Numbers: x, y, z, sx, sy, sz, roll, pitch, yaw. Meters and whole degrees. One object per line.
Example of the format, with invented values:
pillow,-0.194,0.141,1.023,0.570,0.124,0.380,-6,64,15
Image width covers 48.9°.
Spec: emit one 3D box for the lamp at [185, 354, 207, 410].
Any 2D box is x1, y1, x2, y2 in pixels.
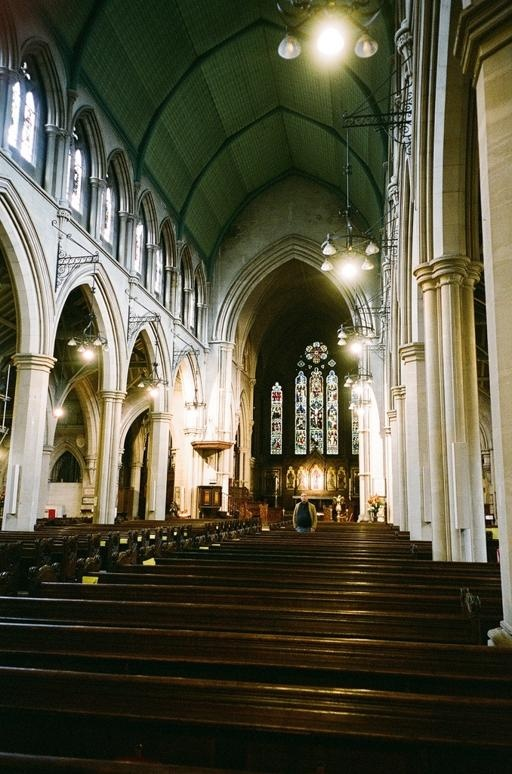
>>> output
lamp,-2.922,-0.200,27.333,0.771,2.538,1.552,-5,-13,29
